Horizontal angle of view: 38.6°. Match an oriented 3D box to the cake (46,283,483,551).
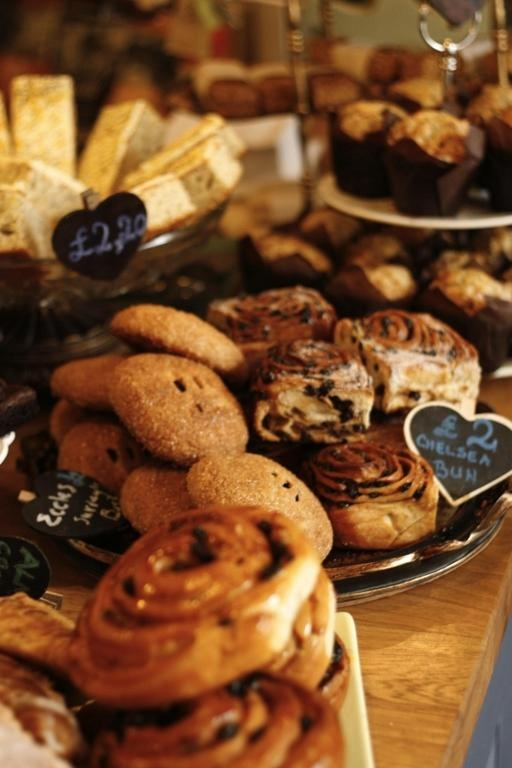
[{"bbox_3d":[0.019,0.017,0.839,0.484,0.197,0.387,-15,31,-17],"label":"cake"}]
